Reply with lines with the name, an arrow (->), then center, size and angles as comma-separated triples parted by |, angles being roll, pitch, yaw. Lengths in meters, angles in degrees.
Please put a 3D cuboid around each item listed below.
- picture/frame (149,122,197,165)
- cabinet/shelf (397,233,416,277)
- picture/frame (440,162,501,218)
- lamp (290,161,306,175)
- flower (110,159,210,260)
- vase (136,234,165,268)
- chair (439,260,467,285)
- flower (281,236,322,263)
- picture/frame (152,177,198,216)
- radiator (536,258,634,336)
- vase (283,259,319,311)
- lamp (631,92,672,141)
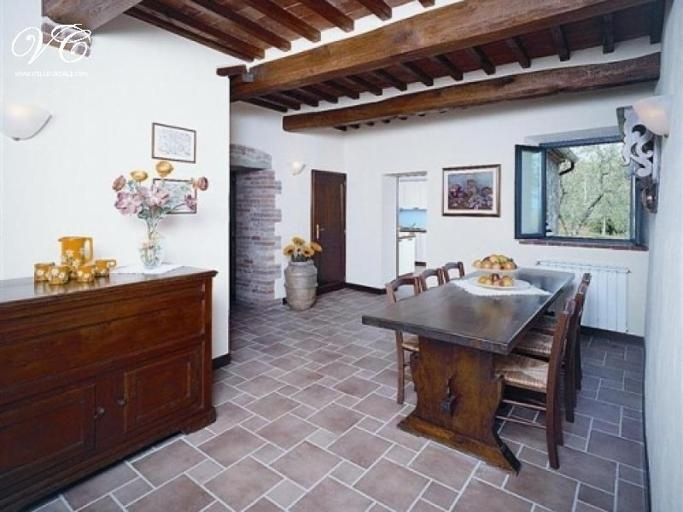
picture/frame -> -1.533, -1.016, 4.098 | 0.061, 0.363, 0.479 | -2, -2, 38
cabinet/shelf -> 1.299, -0.016, 9.355 | 0.303, 0.843, 0.887 | -1, -1, 22
picture/frame -> 1.847, -0.930, 6.452 | 0.827, 0.712, 0.057 | 1, 3, 39
lamp -> -0.653, -1.371, 7.132 | 0.153, 0.219, 0.390 | 4, 10, 28
flower -> -1.452, -0.321, 3.749 | 0.679, 0.800, 0.568 | -3, 0, -14
vase -> -1.512, -0.058, 3.657 | 0.198, 0.331, 0.203 | -7, -10, 32
chair -> 1.293, 0.179, 5.316 | 0.233, 0.372, 0.265 | -3, 0, -19
flower -> -0.566, -0.094, 6.894 | 0.402, 0.219, 0.478 | 0, 0, 30
picture/frame -> -1.454, -0.517, 3.944 | 0.054, 0.310, 0.412 | 3, 3, 34
radiator -> 3.065, 0.474, 5.580 | 0.096, 0.815, 0.943 | 3, 4, -16
vase -> -0.604, 0.405, 6.797 | 0.504, 0.714, 0.527 | 0, 10, 1
lamp -> 1.975, -0.885, 2.979 | 0.273, 0.164, 0.236 | -5, -7, 44
